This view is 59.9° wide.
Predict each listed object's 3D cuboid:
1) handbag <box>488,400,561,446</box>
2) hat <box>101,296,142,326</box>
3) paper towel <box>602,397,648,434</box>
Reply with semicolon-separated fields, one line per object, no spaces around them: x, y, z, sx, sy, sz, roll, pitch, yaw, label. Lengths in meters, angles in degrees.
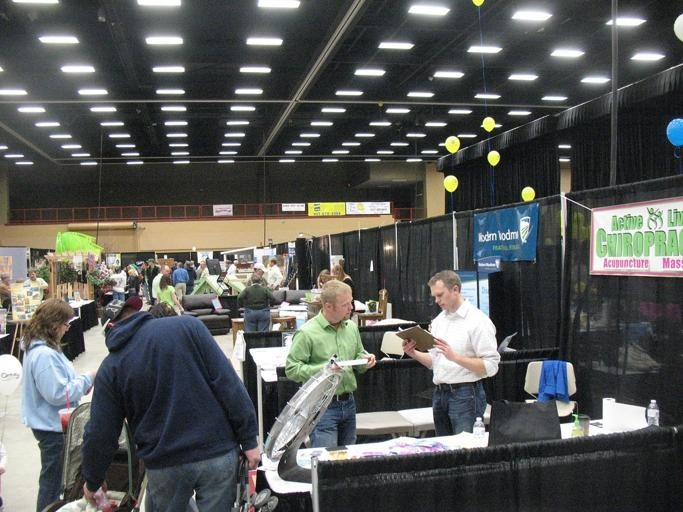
1.346;1.228;4.355;0.312;0.230;0.143;0;-31;2;handbag
-1.580;0.392;4.257;0.268;0.138;0.256;-2;-2;-23;hat
2.266;1.271;4.731;0.283;0.235;0.297;-1;0;1;paper towel
